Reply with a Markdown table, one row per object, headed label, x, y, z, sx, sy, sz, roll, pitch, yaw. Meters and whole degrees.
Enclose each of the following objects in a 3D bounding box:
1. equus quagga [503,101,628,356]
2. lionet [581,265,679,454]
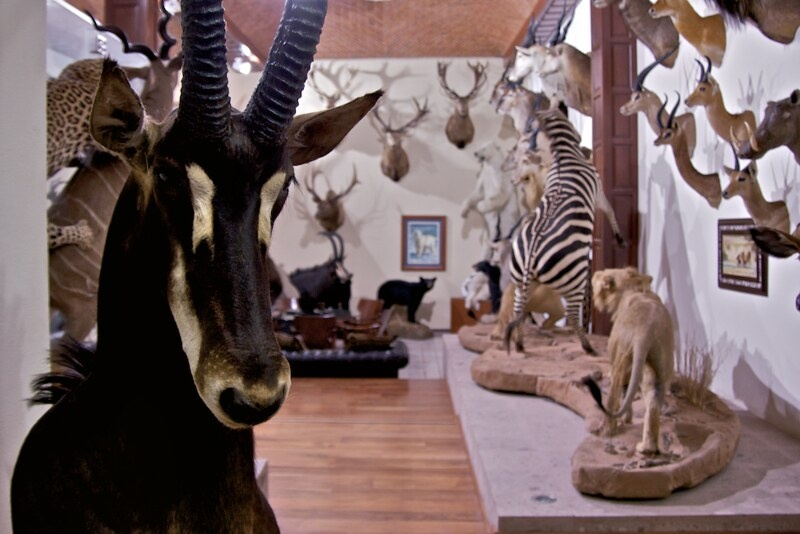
| label | x | y | z | sx | sy | sz | roll | pitch | yaw |
| --- | --- | --- | --- | --- | --- | --- | --- | --- | --- |
| equus quagga | 1.185 | -0.202 | 5.197 | 0.988 | 1.830 | 0.437 | 32 | -17 | -11 |
| lionet | 1.237 | 0.412 | 3.834 | 0.303 | 0.616 | 1.122 | 0 | 15 | 3 |
